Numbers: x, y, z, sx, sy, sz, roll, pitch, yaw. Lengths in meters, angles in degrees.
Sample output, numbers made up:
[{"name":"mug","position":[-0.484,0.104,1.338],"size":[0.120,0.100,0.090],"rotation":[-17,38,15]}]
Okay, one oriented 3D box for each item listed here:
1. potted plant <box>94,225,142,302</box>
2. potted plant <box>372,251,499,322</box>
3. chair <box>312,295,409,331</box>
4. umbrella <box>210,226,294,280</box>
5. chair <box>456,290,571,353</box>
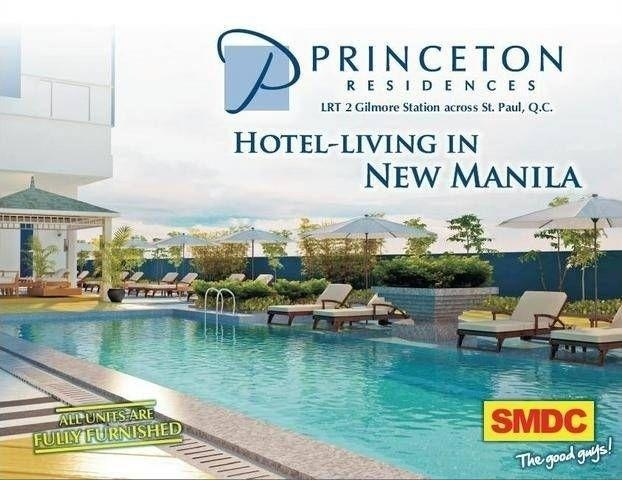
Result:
[{"name":"potted plant","position":[-7.218,0.746,21.486],"size":[1.271,2.694,1.695],"rotation":[1,0,-20]},{"name":"potted plant","position":[2.605,0.962,12.630],"size":[1.805,1.046,1.739],"rotation":[0,0,-34]},{"name":"chair","position":[1.106,1.718,13.783],"size":[1.671,0.694,1.109],"rotation":[3,-6,-24]},{"name":"umbrella","position":[-2.195,0.798,22.455],"size":[2.552,1.660,2.665],"rotation":[-4,4,-32]},{"name":"chair","position":[3.967,1.518,11.281],"size":[1.916,1.021,1.142],"rotation":[3,-6,-29]}]
